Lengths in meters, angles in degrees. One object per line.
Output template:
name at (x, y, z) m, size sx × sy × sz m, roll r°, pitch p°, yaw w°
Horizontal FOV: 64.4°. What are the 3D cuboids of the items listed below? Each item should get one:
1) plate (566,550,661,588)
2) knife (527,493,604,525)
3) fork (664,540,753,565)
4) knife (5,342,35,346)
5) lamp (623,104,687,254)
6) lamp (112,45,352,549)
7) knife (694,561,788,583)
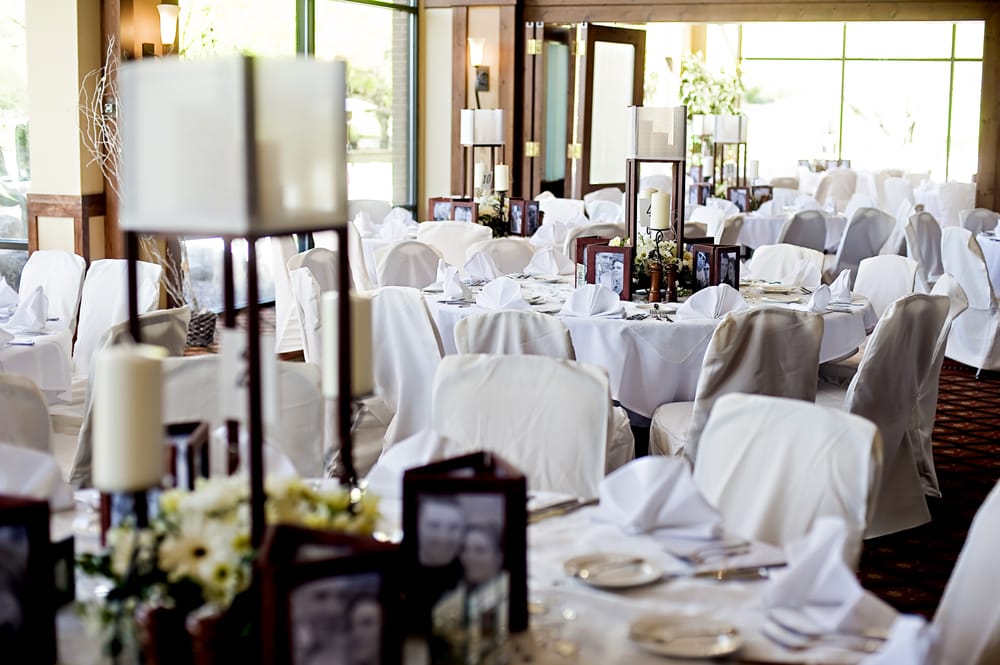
plate at (0.246, 0.521, 1.747) m, size 0.211 × 0.028 × 0.128 m, roll -2°, pitch 9°, yaw -9°
knife at (0.156, 0.448, 2.021) m, size 0.204 × 0.023 × 0.070 m, roll -4°, pitch 10°, yaw -23°
fork at (0.488, 0.503, 1.830) m, size 0.201 × 0.016 × 0.077 m, roll -2°, pitch 10°, yaw -14°
knife at (-2.156, 0.051, 3.560) m, size 0.109 × 0.011 × 0.041 m, roll 0°, pitch 9°, yaw -2°
lamp at (0.811, -0.799, 4.150) m, size 0.305 × 0.782 × 0.618 m, roll 2°, pitch 9°, yaw 11°
lamp at (-0.426, -0.053, 1.314) m, size 0.374 × 0.781 × 0.287 m, roll -4°, pitch 10°, yaw -21°
knife at (0.524, 0.523, 1.732) m, size 0.215 × 0.043 × 0.045 m, roll -3°, pitch 9°, yaw -16°
